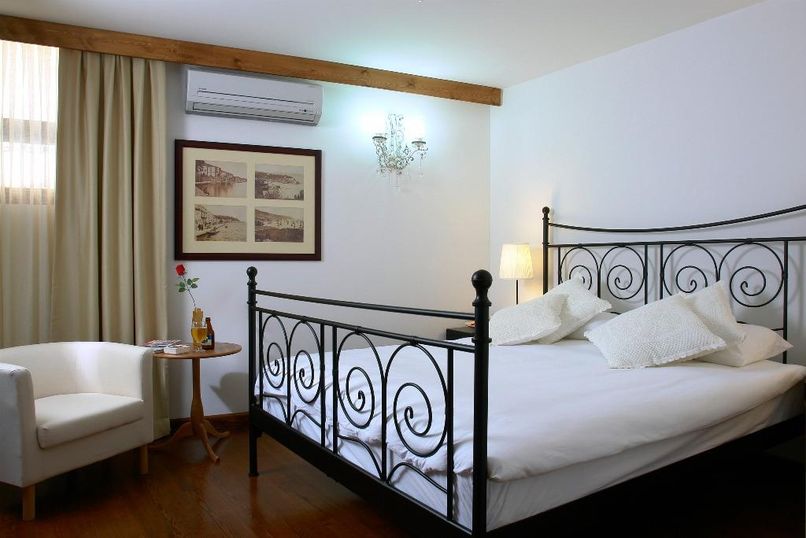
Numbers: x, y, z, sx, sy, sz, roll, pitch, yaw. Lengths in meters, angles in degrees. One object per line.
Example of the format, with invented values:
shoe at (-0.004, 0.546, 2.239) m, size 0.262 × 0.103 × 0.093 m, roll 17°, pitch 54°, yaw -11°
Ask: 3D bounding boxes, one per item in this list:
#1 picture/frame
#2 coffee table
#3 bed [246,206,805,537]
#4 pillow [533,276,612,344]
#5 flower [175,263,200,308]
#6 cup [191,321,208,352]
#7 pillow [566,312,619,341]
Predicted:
picture/frame at (-1.404, -0.603, 4.995) m, size 1.057 × 0.892 × 0.047 m, roll 2°, pitch -3°, yaw -27°
coffee table at (-1.608, 1.014, 4.696) m, size 0.776 × 0.822 × 0.785 m, roll -2°, pitch 3°, yaw -32°
bed at (0.868, 0.799, 3.733) m, size 2.786 × 1.765 × 2.085 m, roll 2°, pitch -2°, yaw -34°
pillow at (1.304, 0.327, 4.461) m, size 0.487 × 0.146 × 0.491 m, roll -34°, pitch 32°, yaw -7°
flower at (-1.776, 0.138, 4.764) m, size 0.185 × 0.392 × 0.257 m, roll -6°, pitch 16°, yaw -20°
cup at (-1.577, 0.513, 4.459) m, size 0.118 × 0.196 × 0.117 m, roll -1°, pitch 15°, yaw 0°
pillow at (1.468, 0.425, 4.442) m, size 0.244 × 0.080 × 0.263 m, roll -31°, pitch 4°, yaw -22°
